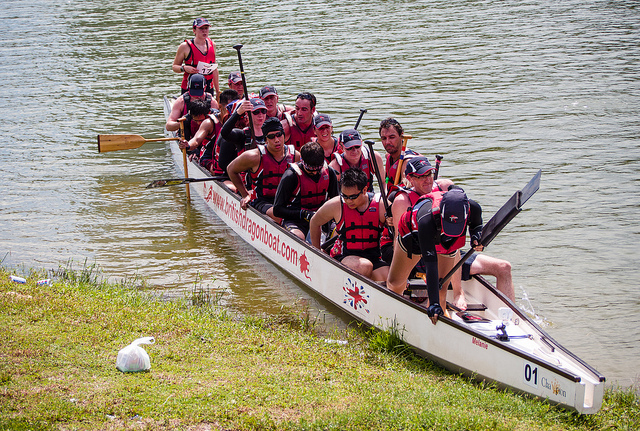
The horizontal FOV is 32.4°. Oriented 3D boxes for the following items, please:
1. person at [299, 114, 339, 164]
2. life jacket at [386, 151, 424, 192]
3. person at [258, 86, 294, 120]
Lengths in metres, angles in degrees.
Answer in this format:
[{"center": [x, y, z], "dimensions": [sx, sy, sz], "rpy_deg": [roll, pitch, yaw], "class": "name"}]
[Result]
[{"center": [-0.045, -1.745, 25.183], "dimensions": [1.328, 1.113, 0.412], "rpy_deg": [-11, 15, -28], "class": "person"}, {"center": [1.795, -0.964, 24.521], "dimensions": [0.865, 0.895, 0.516], "rpy_deg": [2, -4, 0], "class": "life jacket"}, {"center": [-1.087, -2.922, 26.784], "dimensions": [0.516, 0.375, 0.829], "rpy_deg": [-19, -26, 22], "class": "person"}]
